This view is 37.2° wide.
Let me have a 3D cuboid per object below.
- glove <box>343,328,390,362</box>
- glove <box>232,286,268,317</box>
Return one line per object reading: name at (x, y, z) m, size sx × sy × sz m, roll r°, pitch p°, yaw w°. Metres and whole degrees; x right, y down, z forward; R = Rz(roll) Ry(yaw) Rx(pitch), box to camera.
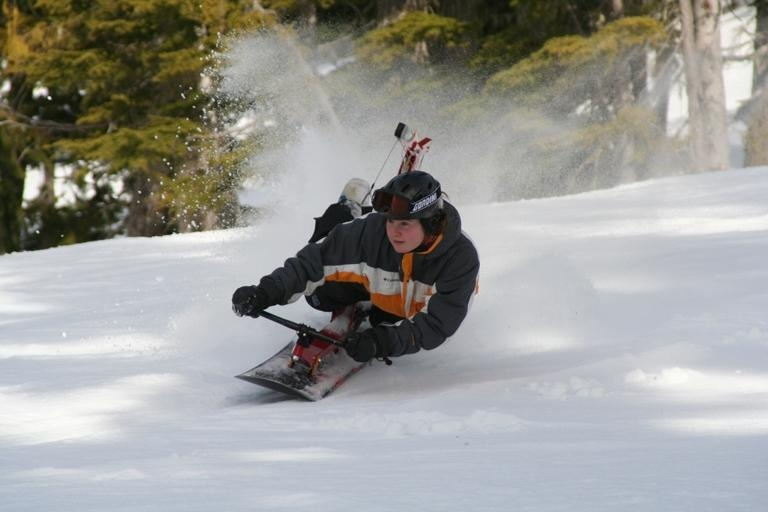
glove at (-0.284, 1.400, 17.878) m, size 0.748 × 0.398 × 0.287 m, roll 5°, pitch -10°, yaw 0°
glove at (-2.177, 0.737, 18.078) m, size 0.455 × 0.397 × 0.561 m, roll -1°, pitch -19°, yaw 12°
